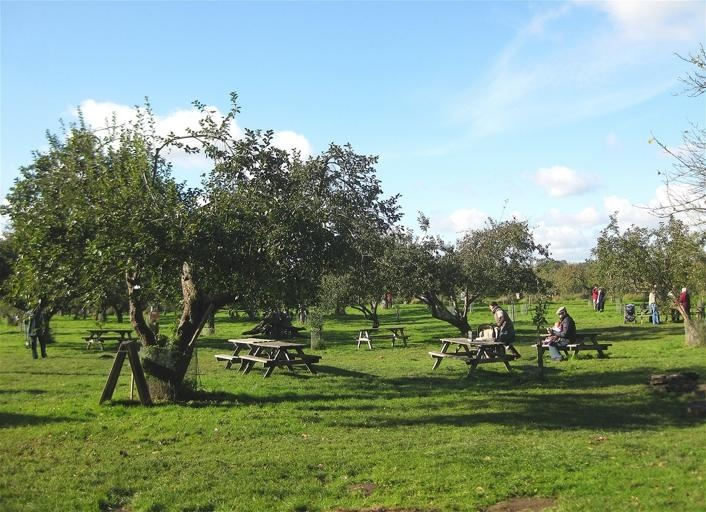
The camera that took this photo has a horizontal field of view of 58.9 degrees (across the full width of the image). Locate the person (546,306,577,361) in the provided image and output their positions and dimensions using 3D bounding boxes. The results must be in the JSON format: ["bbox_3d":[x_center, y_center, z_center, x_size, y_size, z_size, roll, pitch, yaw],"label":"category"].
[{"bbox_3d":[8.439,3.111,24.871,1.001,2.270,1.188,-14,13,-43],"label":"person"}]

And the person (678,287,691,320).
[{"bbox_3d":[16.138,2.174,30.385,0.483,1.263,3.060,2,3,27],"label":"person"}]
